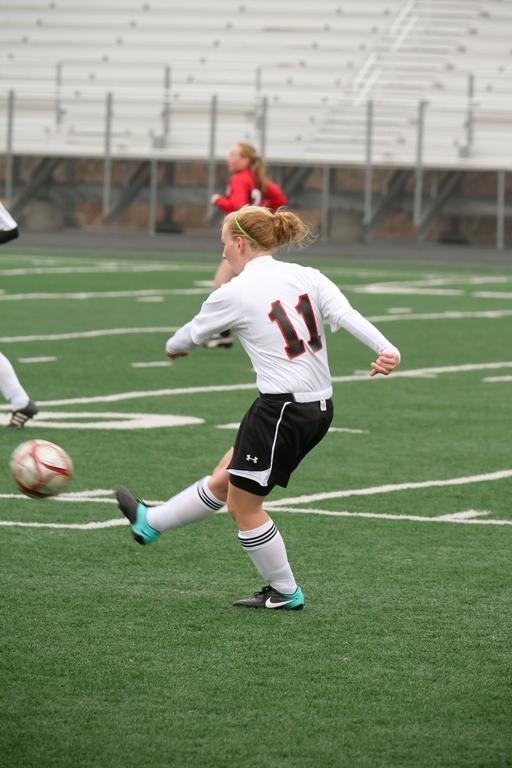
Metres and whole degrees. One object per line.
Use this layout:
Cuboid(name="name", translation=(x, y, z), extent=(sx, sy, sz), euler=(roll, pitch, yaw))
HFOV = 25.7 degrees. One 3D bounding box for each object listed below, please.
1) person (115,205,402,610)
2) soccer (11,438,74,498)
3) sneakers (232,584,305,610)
Cuboid(name="person", translation=(0.072, 0.099, 4.195), extent=(0.738, 1.501, 0.418), euler=(1, 11, -5))
Cuboid(name="soccer", translation=(-0.892, 0.375, 4.692), extent=(0.242, 0.262, 0.212), euler=(-1, 10, -15))
Cuboid(name="sneakers", translation=(0.062, 0.813, 4.284), extent=(0.290, 0.094, 0.094), euler=(1, -9, 7))
